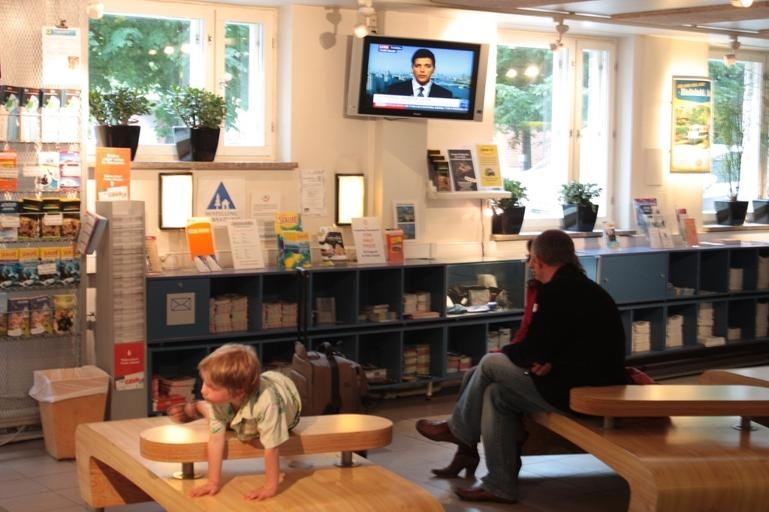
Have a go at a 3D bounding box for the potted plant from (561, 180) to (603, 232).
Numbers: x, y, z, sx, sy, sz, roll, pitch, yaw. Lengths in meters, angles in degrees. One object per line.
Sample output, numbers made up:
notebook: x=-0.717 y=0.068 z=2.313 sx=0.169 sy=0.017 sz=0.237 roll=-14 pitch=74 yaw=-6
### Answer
potted plant: x=2.480 y=-0.594 z=8.113 sx=0.475 sy=0.528 sz=0.555 roll=-2 pitch=-3 yaw=2

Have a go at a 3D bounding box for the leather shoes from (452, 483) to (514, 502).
leather shoes: x=0.654 y=1.592 z=4.295 sx=0.390 sy=0.126 sz=0.130 roll=5 pitch=-5 yaw=7

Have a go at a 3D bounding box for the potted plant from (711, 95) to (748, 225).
potted plant: x=4.980 y=-1.372 z=9.263 sx=0.409 sy=1.819 sz=0.869 roll=1 pitch=7 yaw=26

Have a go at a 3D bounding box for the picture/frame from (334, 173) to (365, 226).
picture/frame: x=-0.346 y=-0.592 z=6.742 sx=0.409 sy=0.539 sz=0.037 roll=5 pitch=8 yaw=39

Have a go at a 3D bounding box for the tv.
tv: x=0.282 y=-1.861 z=6.711 sx=1.216 sy=0.542 sz=0.151 roll=1 pitch=8 yaw=-19

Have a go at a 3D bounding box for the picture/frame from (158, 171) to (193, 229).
picture/frame: x=-1.977 y=-0.520 z=6.086 sx=0.062 sy=0.534 sz=0.374 roll=7 pitch=7 yaw=40

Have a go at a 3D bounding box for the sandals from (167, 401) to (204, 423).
sandals: x=-1.080 y=0.829 z=3.501 sx=0.153 sy=0.047 sz=0.154 roll=-2 pitch=-4 yaw=41

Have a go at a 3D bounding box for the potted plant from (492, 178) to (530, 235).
potted plant: x=1.469 y=-0.578 z=7.554 sx=0.330 sy=0.644 sz=0.684 roll=2 pitch=7 yaw=32

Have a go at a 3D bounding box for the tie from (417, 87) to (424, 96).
tie: x=0.373 y=-1.725 z=6.744 sx=0.108 sy=0.085 sz=0.025 roll=-1 pitch=6 yaw=-24
